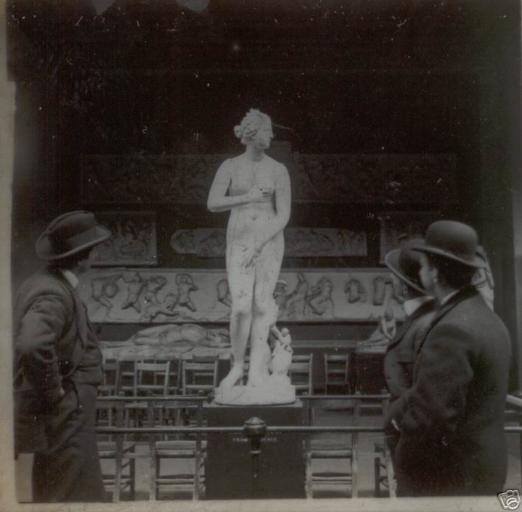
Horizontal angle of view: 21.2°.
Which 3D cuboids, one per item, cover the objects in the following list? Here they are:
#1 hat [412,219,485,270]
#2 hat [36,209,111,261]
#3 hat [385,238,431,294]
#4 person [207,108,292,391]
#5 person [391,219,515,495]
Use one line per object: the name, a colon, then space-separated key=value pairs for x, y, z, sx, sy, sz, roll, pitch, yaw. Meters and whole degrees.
hat: x=1.322 y=-0.108 z=9.720 sx=0.549 sy=0.281 sz=0.477 roll=17 pitch=16 yaw=19
hat: x=-1.320 y=-0.126 z=9.775 sx=0.378 sy=0.346 sz=0.148 roll=-23 pitch=-43 yaw=-6
hat: x=1.039 y=0.057 z=9.874 sx=0.360 sy=0.317 sz=0.137 roll=41 pitch=-7 yaw=-10
person: x=-0.079 y=-0.067 z=9.913 sx=0.598 sy=1.936 sz=0.236 roll=1 pitch=-3 yaw=-2
person: x=1.284 y=0.693 z=9.462 sx=0.777 sy=1.893 sz=0.423 roll=0 pitch=-3 yaw=6
